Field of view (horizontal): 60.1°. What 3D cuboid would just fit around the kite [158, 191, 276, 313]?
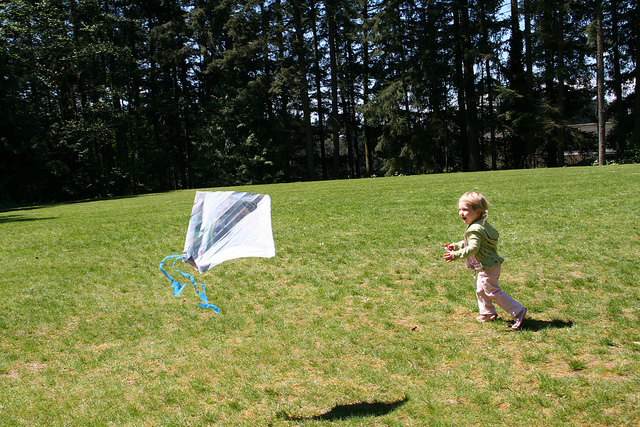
[{"bbox_3d":[-2.500,0.838,14.441,3.199,0.838,3.399,17,58,28],"label":"kite"}]

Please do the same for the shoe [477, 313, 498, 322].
[{"bbox_3d":[4.204,2.596,13.844,0.433,0.135,0.203,-7,3,5],"label":"shoe"}]

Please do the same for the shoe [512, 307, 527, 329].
[{"bbox_3d":[4.867,2.555,13.614,0.263,0.633,0.223,14,5,1],"label":"shoe"}]
